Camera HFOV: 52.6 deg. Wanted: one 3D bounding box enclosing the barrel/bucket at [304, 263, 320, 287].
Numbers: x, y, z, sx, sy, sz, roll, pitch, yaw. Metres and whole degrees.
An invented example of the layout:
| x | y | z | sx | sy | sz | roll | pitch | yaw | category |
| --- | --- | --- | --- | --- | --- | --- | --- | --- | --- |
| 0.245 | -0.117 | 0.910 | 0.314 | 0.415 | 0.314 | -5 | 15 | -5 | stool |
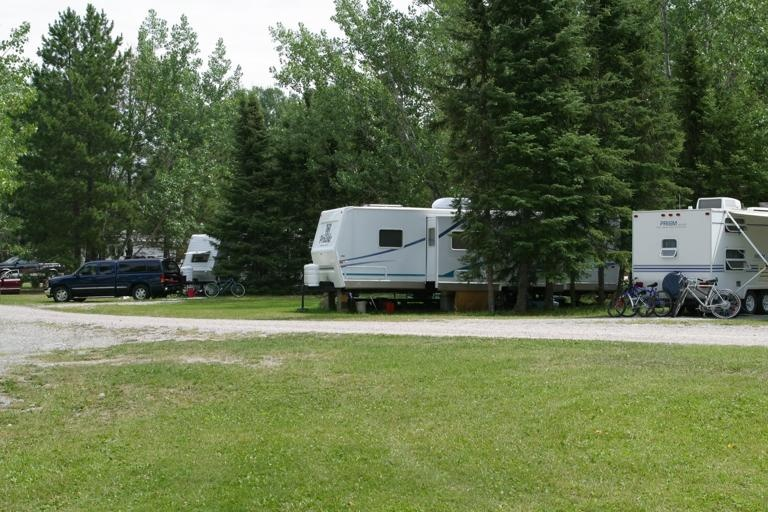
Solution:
| x | y | z | sx | sy | sz | roll | pitch | yaw | category |
| --- | --- | --- | --- | --- | --- | --- | --- | --- | --- |
| -2.916 | 0.822 | 31.421 | 0.757 | 0.823 | 0.765 | 0 | -2 | 0 | barrel/bucket |

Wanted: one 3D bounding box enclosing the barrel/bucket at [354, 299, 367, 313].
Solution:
| x | y | z | sx | sy | sz | roll | pitch | yaw | category |
| --- | --- | --- | --- | --- | --- | --- | --- | --- | --- |
| -0.926 | 2.060 | 31.374 | 0.440 | 0.337 | 0.443 | -1 | -3 | 0 | barrel/bucket |

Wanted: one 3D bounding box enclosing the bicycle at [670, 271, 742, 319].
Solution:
| x | y | z | sx | sy | sz | roll | pitch | yaw | category |
| --- | --- | --- | --- | --- | --- | --- | --- | --- | --- |
| 10.683 | 1.430 | 26.233 | 2.560 | 1.310 | 0.833 | 1 | -5 | 30 | bicycle |

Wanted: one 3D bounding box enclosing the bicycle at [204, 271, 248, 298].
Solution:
| x | y | z | sx | sy | sz | roll | pitch | yaw | category |
| --- | --- | --- | --- | --- | --- | --- | --- | --- | --- |
| -8.782 | 1.675 | 43.154 | 2.432 | 1.163 | 1.035 | 1 | -2 | 20 | bicycle |

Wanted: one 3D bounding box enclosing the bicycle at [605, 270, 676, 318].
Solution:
| x | y | z | sx | sy | sz | roll | pitch | yaw | category |
| --- | --- | --- | --- | --- | --- | --- | --- | --- | --- |
| 9.018 | 1.506 | 27.123 | 1.980 | 1.305 | 1.195 | 1 | -2 | 16 | bicycle |
